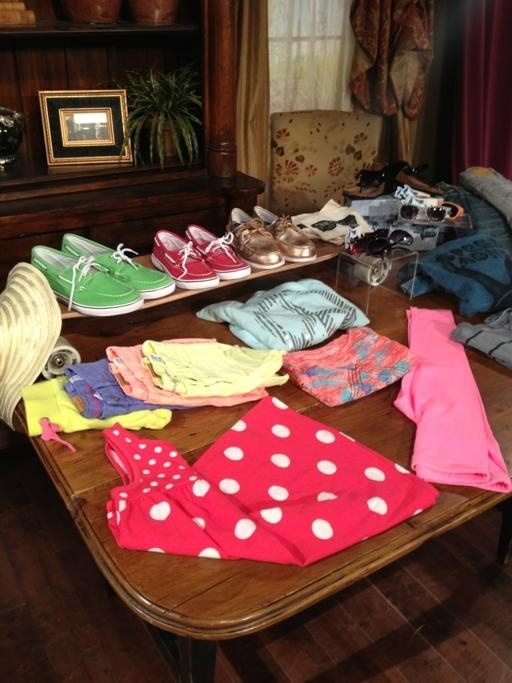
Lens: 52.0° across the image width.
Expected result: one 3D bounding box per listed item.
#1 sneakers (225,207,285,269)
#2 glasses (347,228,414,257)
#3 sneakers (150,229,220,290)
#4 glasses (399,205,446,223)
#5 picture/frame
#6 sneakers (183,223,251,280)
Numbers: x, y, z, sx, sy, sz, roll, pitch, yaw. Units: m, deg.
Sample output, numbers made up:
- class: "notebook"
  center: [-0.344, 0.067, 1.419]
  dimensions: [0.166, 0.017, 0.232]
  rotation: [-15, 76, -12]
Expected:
- class: "sneakers"
  center: [-0.022, -0.265, 1.430]
  dimensions: [0.102, 0.085, 0.238]
  rotation: [-22, 48, -27]
- class: "glasses"
  center: [0.347, -0.247, 1.442]
  dimensions: [0.166, 0.049, 0.093]
  rotation: [-17, 35, -23]
- class: "sneakers"
  center: [-0.190, -0.196, 1.341]
  dimensions: [0.098, 0.098, 0.253]
  rotation: [-27, 48, -32]
- class: "glasses"
  center: [0.482, -0.369, 1.531]
  dimensions: [0.081, 0.025, 0.079]
  rotation: [1, 4, -6]
- class: "picture/frame"
  center: [-0.599, -0.751, 1.856]
  dimensions: [0.345, 0.260, 0.024]
  rotation: [-11, 28, -23]
- class: "sneakers"
  center: [-0.114, -0.230, 1.391]
  dimensions: [0.092, 0.086, 0.244]
  rotation: [-27, 53, -34]
